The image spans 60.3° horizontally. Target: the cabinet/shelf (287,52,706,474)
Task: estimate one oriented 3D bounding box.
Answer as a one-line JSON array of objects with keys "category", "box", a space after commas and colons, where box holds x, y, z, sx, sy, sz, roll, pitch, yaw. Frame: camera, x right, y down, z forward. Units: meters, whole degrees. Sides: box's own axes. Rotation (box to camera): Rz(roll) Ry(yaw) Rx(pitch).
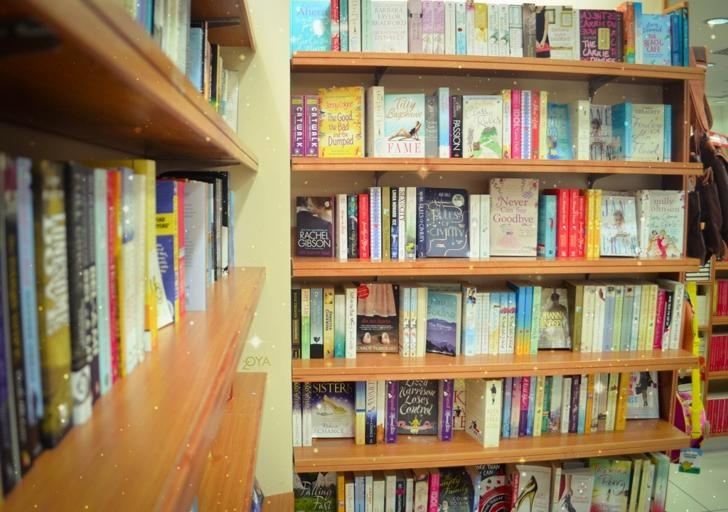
[{"category": "cabinet/shelf", "box": [0.507, 0.033, 2.647, 1.762, 0.581, 1.666, -1, 93, -8]}]
